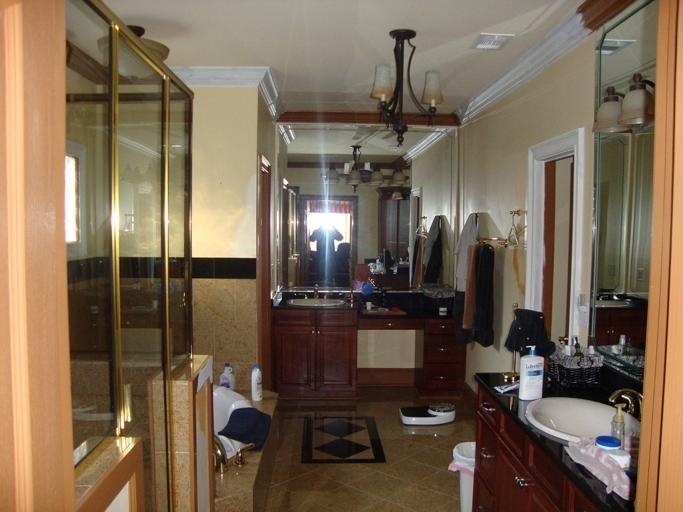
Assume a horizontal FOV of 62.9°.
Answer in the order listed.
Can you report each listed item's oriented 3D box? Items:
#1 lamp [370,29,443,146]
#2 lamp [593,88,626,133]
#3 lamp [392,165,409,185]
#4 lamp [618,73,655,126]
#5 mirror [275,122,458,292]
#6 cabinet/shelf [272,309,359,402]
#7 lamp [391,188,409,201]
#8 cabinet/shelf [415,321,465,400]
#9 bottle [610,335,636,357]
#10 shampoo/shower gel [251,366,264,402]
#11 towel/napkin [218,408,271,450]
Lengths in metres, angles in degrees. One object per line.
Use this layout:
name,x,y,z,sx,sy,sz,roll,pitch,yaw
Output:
lamp,0.391,-0.989,3.281,0.361,0.639,0.422,3,11,9
lamp,1.206,-0.680,2.523,0.129,0.155,0.138,-2,4,22
lamp,0.562,-0.773,5.337,0.150,0.177,0.158,2,11,10
lamp,1.254,-0.660,2.347,0.178,0.215,0.137,2,-1,-29
mirror,0.189,-0.537,5.340,1.453,1.611,0.119,0,6,-1
cabinet/shelf,-0.229,0.807,5.235,1.014,1.084,0.678,0,-3,-2
lamp,0.567,-0.602,5.366,0.094,0.061,0.139,0,-7,-1
cabinet/shelf,0.900,0.923,4.993,0.499,0.884,0.609,0,-2,0
bottle,1.360,0.425,2.703,0.075,0.146,0.074,-1,7,0
shampoo/shower gel,-0.663,0.983,4.388,0.082,0.288,0.145,0,6,-7
towel/napkin,-0.593,1.078,3.516,0.213,0.068,0.224,17,33,5
